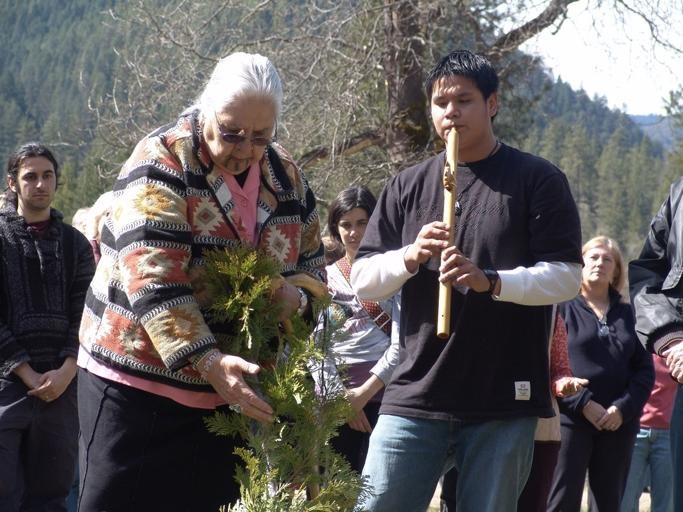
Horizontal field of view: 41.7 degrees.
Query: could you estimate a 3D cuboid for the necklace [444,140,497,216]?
[{"bbox_3d":[0.724,-0.443,5.307,0.364,0.542,0.168,3,-6,-32],"label":"necklace"}]
